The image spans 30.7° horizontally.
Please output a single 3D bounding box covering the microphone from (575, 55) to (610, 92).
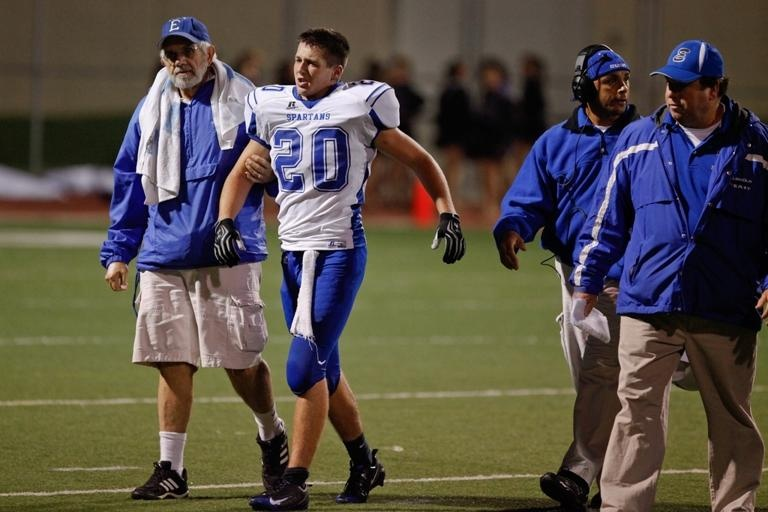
[{"bbox_3d":[1.582,-1.401,10.602,0.295,0.256,0.276,-16,10,-38],"label":"microphone"}]

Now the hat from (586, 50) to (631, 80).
[{"bbox_3d":[1.658,-1.431,10.540,0.254,0.153,0.248,-8,-1,-21],"label":"hat"}]

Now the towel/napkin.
[{"bbox_3d":[-1.420,-0.904,10.657,0.985,1.109,0.239,-8,-19,4],"label":"towel/napkin"}]

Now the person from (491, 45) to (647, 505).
[{"bbox_3d":[1.451,0.141,10.970,1.191,3.368,1.545,0,-2,-2],"label":"person"}]

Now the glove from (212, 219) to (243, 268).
[{"bbox_3d":[-1.166,-0.111,10.493,0.226,0.350,0.297,-1,10,-6],"label":"glove"}]

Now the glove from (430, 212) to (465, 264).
[{"bbox_3d":[0.473,-0.126,10.432,0.227,0.407,0.404,1,10,2],"label":"glove"}]

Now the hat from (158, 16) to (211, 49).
[{"bbox_3d":[-1.544,-1.722,10.778,0.373,0.225,0.464,-1,11,-9],"label":"hat"}]

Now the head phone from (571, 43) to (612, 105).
[{"bbox_3d":[1.509,-1.410,10.740,0.151,0.387,0.409,10,11,13],"label":"head phone"}]
